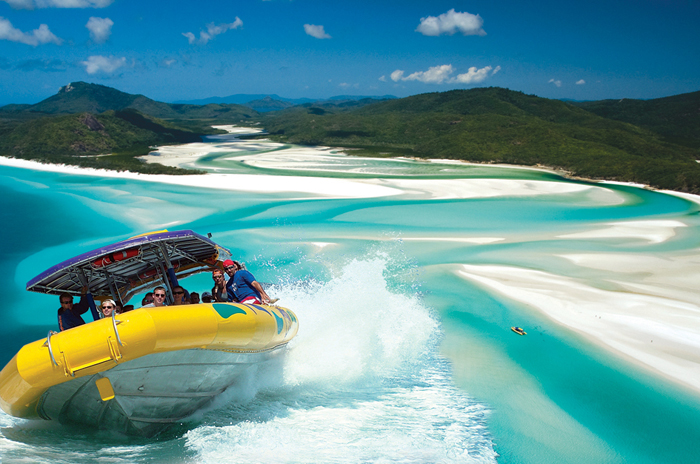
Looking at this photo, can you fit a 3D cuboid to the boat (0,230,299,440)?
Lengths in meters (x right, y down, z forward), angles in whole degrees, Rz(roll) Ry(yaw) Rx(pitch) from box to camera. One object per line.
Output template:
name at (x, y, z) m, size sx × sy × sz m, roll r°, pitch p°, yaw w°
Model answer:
boat at (-4.390, 1.962, 11.715) m, size 6.107 × 3.926 × 5.248 m, roll 2°, pitch 15°, yaw -4°

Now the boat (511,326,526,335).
boat at (5.179, 3.015, 14.820) m, size 0.508 × 0.145 × 0.380 m, roll 12°, pitch 16°, yaw 37°
